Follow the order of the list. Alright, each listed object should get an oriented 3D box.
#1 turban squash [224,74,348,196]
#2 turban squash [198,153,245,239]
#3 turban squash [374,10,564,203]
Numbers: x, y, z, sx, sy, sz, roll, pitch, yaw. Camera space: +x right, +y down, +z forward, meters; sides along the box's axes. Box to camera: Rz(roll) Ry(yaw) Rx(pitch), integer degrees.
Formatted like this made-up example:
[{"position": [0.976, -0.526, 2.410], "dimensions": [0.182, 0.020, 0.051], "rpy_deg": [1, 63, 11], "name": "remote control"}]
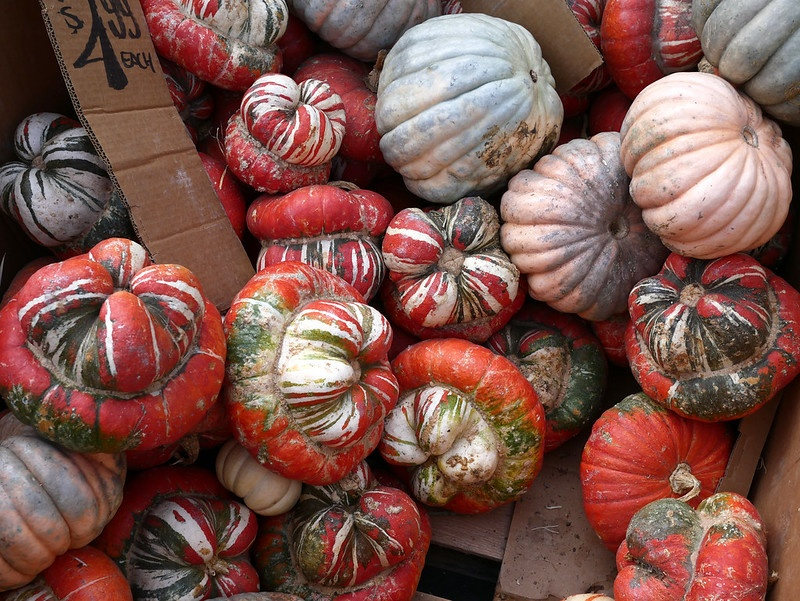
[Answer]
[{"position": [-0.360, -0.500, 2.400], "dimensions": [0.341, 0.322, 0.384], "rpy_deg": [-5, 65, -39], "name": "turban squash"}, {"position": [-0.577, -0.334, 2.373], "dimensions": [0.217, 0.178, 0.139], "rpy_deg": [28, 75, 2], "name": "turban squash"}, {"position": [0.228, -0.623, 2.435], "dimensions": [0.496, 0.583, 0.565], "rpy_deg": [15, 44, 32], "name": "turban squash"}]
